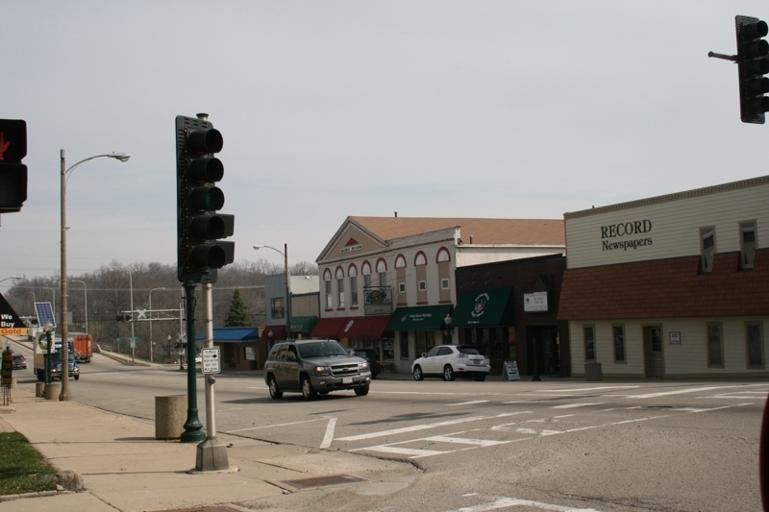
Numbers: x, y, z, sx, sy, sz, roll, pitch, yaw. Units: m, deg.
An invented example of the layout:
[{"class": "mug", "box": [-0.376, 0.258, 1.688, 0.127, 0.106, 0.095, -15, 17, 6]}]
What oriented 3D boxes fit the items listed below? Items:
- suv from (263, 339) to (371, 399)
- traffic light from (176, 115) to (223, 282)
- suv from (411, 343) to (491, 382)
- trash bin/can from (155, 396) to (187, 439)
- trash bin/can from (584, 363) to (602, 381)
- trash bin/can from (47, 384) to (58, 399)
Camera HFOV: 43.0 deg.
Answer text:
[{"class": "suv", "box": [-2.873, 4.428, 39.396, 2.913, 2.283, 5.376, -2, -4, -31]}, {"class": "traffic light", "box": [-4.712, -1.361, 24.682, 1.153, 4.189, 1.312, -1, -2, -9]}, {"class": "suv", "box": [3.054, 5.162, 48.169, 2.105, 1.744, 4.333, 5, -9, -38]}, {"class": "trash bin/can", "box": [-6.444, 4.750, 29.202, 0.880, 1.280, 0.560, 1, -6, -12]}, {"class": "trash bin/can", "box": [9.570, 5.237, 45.038, 0.709, 0.727, 0.688, -3, -8, 24]}, {"class": "trash bin/can", "box": [-15.540, 6.154, 44.996, 0.644, 0.689, 0.655, -1, -2, 3]}]
